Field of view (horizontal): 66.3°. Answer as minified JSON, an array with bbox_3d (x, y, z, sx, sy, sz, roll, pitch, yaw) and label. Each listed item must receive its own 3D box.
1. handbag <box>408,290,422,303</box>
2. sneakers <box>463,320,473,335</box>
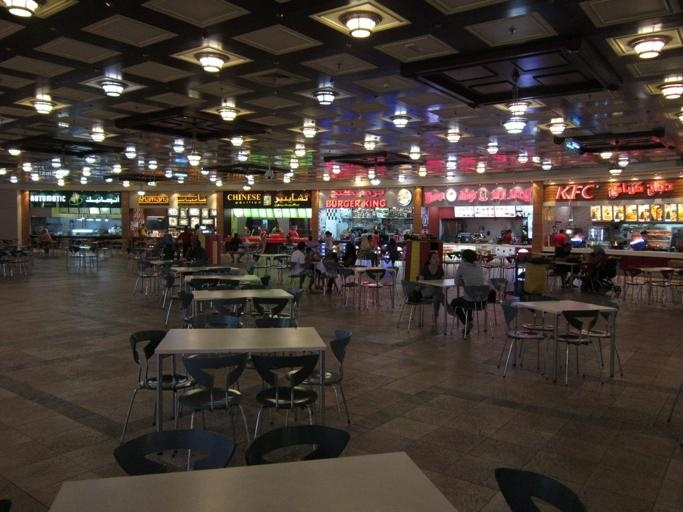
[{"bbox_3d":[1.491,0.797,10.410,0.297,0.213,0.270,0,-1,14],"label":"handbag"},{"bbox_3d":[2.362,1.326,9.663,0.155,0.118,0.362,34,25,1],"label":"sneakers"}]
